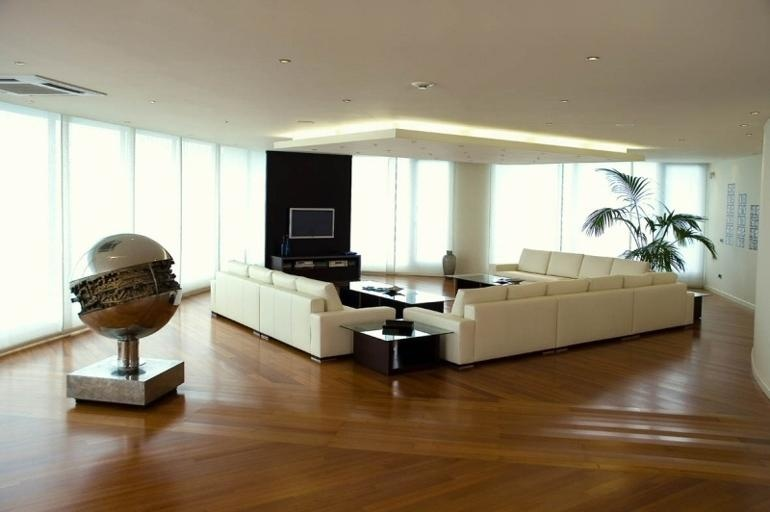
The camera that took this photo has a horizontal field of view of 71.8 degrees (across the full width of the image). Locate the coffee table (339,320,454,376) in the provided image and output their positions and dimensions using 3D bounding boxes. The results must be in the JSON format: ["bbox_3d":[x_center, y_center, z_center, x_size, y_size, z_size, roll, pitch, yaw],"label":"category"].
[{"bbox_3d":[0.035,1.186,6.914,0.858,0.363,0.827,-2,4,-34],"label":"coffee table"}]

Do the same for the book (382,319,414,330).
[{"bbox_3d":[0.194,0.870,6.829,0.212,0.066,0.152,3,8,18],"label":"book"}]

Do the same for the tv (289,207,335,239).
[{"bbox_3d":[-1.684,-0.761,12.222,1.082,0.712,0.083,-4,12,-25],"label":"tv"}]
